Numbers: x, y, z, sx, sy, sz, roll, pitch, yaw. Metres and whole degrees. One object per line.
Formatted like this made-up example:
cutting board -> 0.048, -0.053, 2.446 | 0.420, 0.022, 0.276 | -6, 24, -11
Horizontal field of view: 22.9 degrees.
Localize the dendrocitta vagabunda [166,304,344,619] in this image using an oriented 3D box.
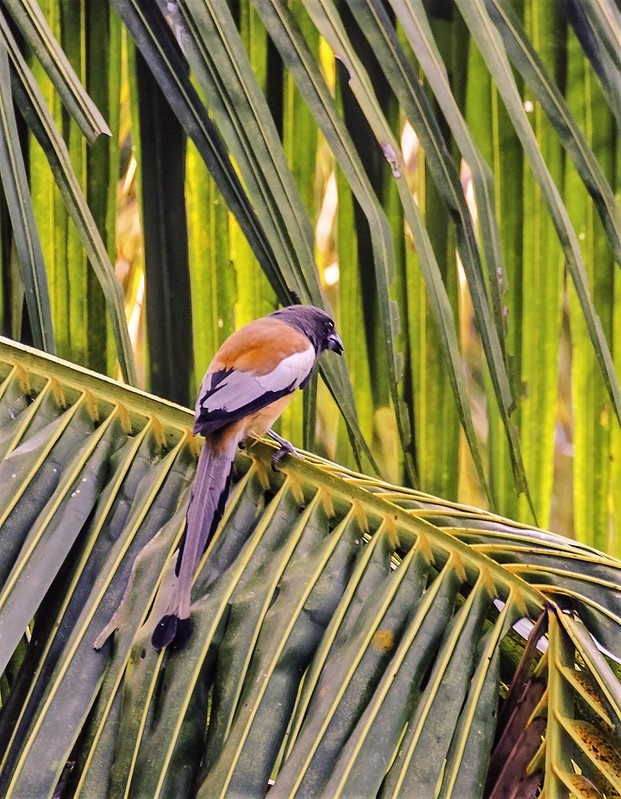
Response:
dendrocitta vagabunda -> -0.209, 0.135, 4.504 | 0.253, 0.591, 1.278 | -5, 17, 26
